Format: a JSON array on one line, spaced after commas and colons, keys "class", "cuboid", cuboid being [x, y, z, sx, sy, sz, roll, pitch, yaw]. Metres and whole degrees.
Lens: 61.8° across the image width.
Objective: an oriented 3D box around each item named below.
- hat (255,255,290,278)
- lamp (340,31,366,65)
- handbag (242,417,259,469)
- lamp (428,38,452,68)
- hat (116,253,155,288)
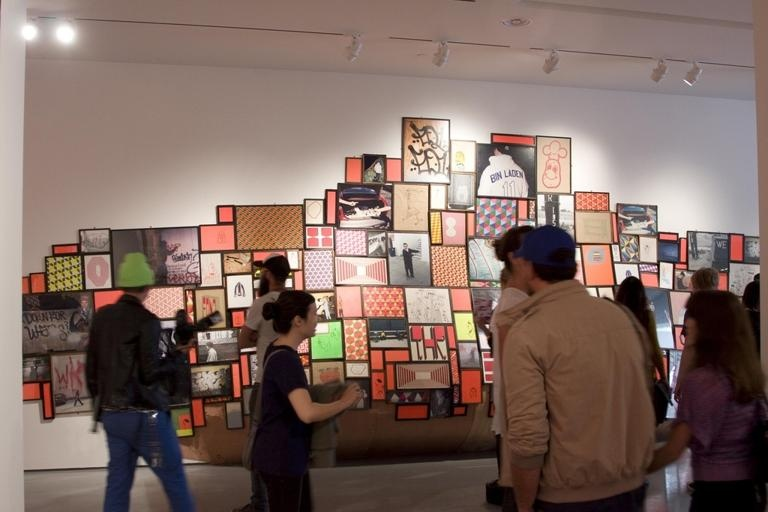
[{"class": "hat", "cuboid": [-0.960, 0.089, 5.559, 0.248, 0.206, 0.180, -1, 2, 1]}, {"class": "lamp", "cuboid": [-0.338, -2.202, 6.777, 0.197, 0.262, 0.492, 6, 29, -2]}, {"class": "handbag", "cuboid": [-0.958, 1.321, 4.511, 0.124, 0.374, 0.268, 5, -6, -8]}, {"class": "lamp", "cuboid": [0.568, -2.125, 6.897, 0.225, 0.409, 0.342, 6, 0, -3]}, {"class": "hat", "cuboid": [-2.478, 0.142, 6.261, 0.365, 0.313, 0.125, 1, -12, -20]}]
